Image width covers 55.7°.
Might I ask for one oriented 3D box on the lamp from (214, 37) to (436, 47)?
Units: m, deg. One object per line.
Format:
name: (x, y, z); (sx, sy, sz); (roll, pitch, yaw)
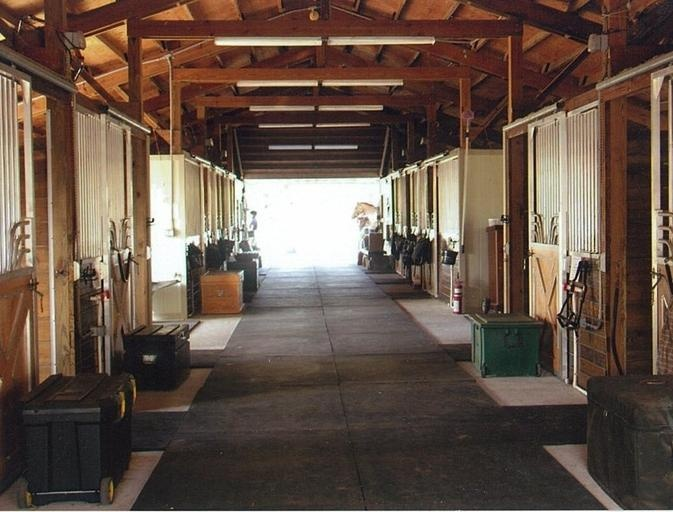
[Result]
lamp: (-0.142, -2.702, 8.002); (2.726, 0.112, 0.367); (-2, 7, -7)

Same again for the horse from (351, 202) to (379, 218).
horse: (0.879, -1.408, 19.665); (0.978, 0.476, 0.384); (4, 7, 38)
